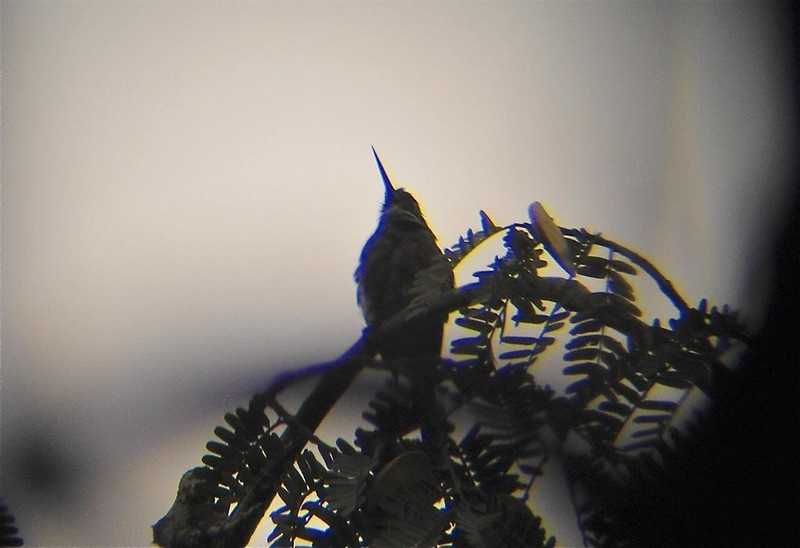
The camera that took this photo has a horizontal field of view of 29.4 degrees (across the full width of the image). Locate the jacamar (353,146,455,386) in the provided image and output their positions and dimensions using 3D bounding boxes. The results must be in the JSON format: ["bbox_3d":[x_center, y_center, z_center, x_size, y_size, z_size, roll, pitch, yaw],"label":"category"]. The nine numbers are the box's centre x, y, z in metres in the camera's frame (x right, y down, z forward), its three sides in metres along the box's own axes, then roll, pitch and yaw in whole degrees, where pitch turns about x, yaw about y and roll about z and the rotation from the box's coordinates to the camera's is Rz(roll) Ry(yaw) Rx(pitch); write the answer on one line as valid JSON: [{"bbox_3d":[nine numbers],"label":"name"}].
[{"bbox_3d":[-0.001,-0.005,1.464,0.063,0.203,0.083,-12,-15,6],"label":"jacamar"}]
